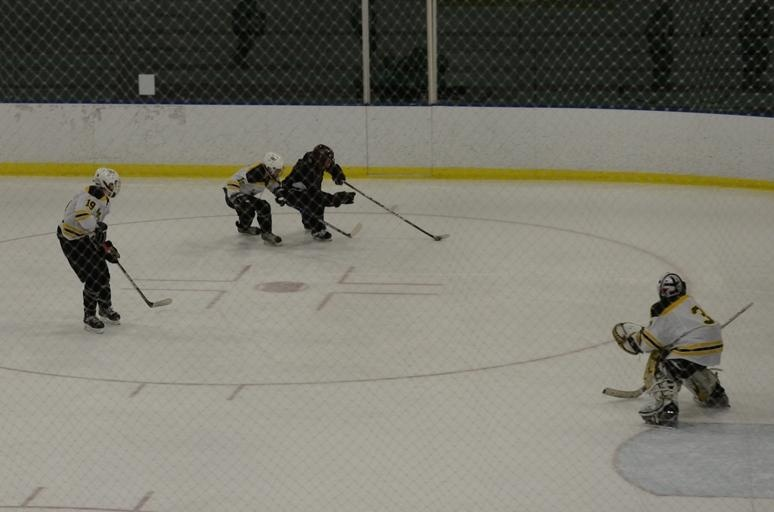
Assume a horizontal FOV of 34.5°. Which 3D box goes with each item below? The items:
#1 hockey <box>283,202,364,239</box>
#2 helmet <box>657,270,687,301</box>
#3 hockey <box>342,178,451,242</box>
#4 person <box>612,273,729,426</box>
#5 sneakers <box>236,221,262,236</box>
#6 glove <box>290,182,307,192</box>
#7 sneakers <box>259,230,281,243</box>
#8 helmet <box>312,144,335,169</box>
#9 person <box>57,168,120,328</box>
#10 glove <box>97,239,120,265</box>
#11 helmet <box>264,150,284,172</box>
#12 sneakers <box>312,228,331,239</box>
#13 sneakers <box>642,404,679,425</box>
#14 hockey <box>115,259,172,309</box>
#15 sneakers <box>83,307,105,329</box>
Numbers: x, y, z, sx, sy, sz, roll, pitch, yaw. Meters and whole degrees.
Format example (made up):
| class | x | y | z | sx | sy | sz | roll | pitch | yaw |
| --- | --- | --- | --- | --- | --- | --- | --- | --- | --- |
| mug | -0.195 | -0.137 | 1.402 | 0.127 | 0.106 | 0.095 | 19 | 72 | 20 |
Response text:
| class | x | y | z | sx | sy | sz | roll | pitch | yaw |
| --- | --- | --- | --- | --- | --- | --- | --- | --- | --- |
| hockey | -0.788 | -0.490 | 14.816 | 0.956 | 0.364 | 0.108 | 29 | 44 | 13 |
| helmet | 2.490 | 0.263 | 11.134 | 0.218 | 0.264 | 0.269 | 18 | 11 | 42 |
| hockey | 0.264 | -0.435 | 15.740 | 0.321 | 0.444 | 2.247 | 40 | 5 | 26 |
| person | 2.502 | 0.813 | 10.994 | 0.957 | 1.278 | 0.437 | 1 | 14 | 10 |
| sneakers | -1.626 | -0.343 | 14.841 | 0.381 | 0.146 | 0.135 | 5 | 23 | 19 |
| glove | -1.038 | -0.843 | 14.794 | 0.135 | 0.114 | 0.056 | 0 | -19 | 0 |
| sneakers | -1.361 | -0.233 | 14.487 | 0.220 | 0.087 | 0.105 | 18 | -1 | 24 |
| helmet | -0.752 | -1.189 | 14.682 | 0.234 | 0.279 | 0.196 | -6 | 14 | -18 |
| person | -2.874 | -0.083 | 12.204 | 0.618 | 1.511 | 0.509 | -5 | 14 | -14 |
| glove | -2.710 | -0.079 | 12.238 | 0.175 | 0.168 | 0.233 | -29 | 51 | -36 |
| helmet | -1.345 | -1.129 | 14.627 | 0.202 | 0.192 | 0.292 | -6 | 14 | -16 |
| sneakers | -0.770 | -0.274 | 14.607 | 0.218 | 0.099 | 0.103 | 1 | 7 | 37 |
| sneakers | 2.392 | 1.382 | 10.978 | 0.300 | 0.123 | 0.165 | 2 | 12 | 33 |
| hockey | -2.551 | 0.297 | 13.050 | 0.109 | 0.650 | 0.190 | -3 | 49 | 38 |
| sneakers | -2.849 | 0.593 | 12.191 | 0.180 | 0.209 | 0.197 | -11 | 16 | -34 |
